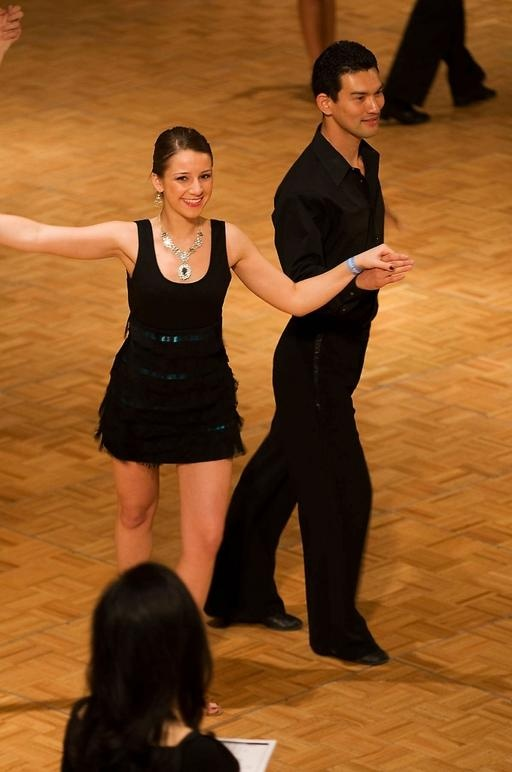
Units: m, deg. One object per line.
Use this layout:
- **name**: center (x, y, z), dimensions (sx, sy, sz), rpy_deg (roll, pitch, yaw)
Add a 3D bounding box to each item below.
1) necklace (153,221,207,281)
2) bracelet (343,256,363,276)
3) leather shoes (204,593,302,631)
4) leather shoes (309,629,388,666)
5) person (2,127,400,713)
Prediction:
- **necklace**: center (-0.252, -0.432, 2.519), dimensions (0.247, 0.019, 0.250), rpy_deg (2, 67, -17)
- **bracelet**: center (0.327, -0.405, 2.624), dimensions (0.043, 0.050, 0.057), rpy_deg (-10, 10, 36)
- **leather shoes**: center (-0.021, 1.019, 3.479), dimensions (0.434, 0.137, 0.132), rpy_deg (-1, 14, 7)
- **leather shoes**: center (0.400, 1.076, 3.315), dimensions (0.320, 0.248, 0.133), rpy_deg (0, 17, 8)
- **person**: center (-0.240, -0.090, 2.764), dimensions (0.925, 1.554, 0.734), rpy_deg (25, 36, 26)
